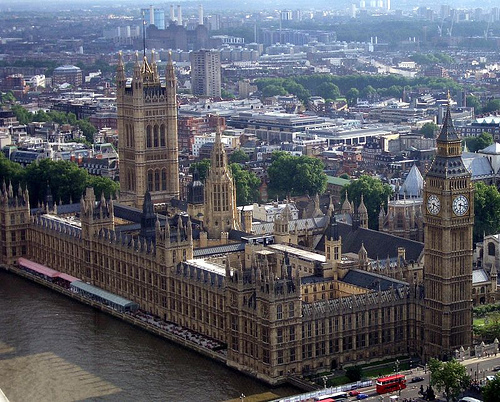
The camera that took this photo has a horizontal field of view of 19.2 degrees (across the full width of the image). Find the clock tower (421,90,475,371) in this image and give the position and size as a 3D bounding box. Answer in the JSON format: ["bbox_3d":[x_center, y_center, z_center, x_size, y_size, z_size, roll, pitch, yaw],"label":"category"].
[{"bbox_3d":[35.773,7.792,266.479,8.592,42.493,5.728,-2,12,5],"label":"clock tower"}]

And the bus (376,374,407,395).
[{"bbox_3d":[24.525,31.275,254.923,5.800,2.497,2.211,-11,18,-27],"label":"bus"}]
